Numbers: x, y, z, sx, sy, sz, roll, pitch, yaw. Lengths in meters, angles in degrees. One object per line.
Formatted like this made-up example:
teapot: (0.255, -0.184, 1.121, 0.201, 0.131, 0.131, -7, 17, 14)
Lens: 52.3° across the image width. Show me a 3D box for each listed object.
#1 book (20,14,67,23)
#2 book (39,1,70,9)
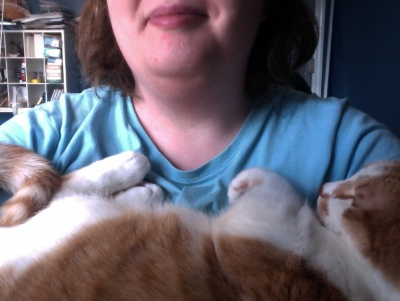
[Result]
book: (-1.427, -1.196, 3.707, 0.389, 0.070, 0.091, -11, 34, -15)
book: (-1.415, -1.407, 3.937, 0.166, 0.053, 0.182, 6, 5, 12)
